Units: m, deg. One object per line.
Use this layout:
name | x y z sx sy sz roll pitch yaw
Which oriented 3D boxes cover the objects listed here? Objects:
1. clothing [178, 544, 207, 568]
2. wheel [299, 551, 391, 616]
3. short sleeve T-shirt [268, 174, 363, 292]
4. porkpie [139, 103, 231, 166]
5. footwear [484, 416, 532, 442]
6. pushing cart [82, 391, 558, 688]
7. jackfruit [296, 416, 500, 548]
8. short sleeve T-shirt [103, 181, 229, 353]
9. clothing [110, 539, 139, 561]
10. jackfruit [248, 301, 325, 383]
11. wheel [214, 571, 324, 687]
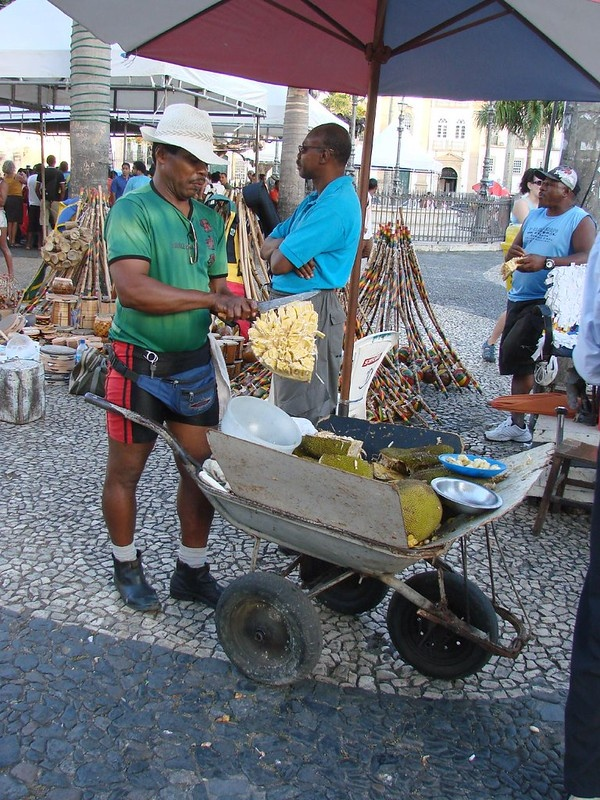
clothing | -0.457 0.658 2.682 0.113 0.075 0.111 7 8 34
wheel | 0.159 0.809 2.599 0.346 0.091 0.327 11 11 -2
short sleeve T-shirt | 0.104 -0.826 3.098 0.415 0.610 0.289 4 13 -6
porkpie | -0.395 -0.951 2.221 0.292 0.142 0.247 20 16 11
footwear | 1.676 0.252 5.062 0.456 0.191 0.151 3 7 1
pushing cart | -0.141 0.475 2.521 2.075 1.034 0.903 9 10 25
jackfruit | 0.347 0.253 2.184 0.606 0.200 0.412 16 13 24
short sleeve T-shirt | -0.512 -0.504 2.392 0.417 0.626 0.461 4 12 -6
clothing | -0.745 0.627 2.603 0.092 0.078 0.084 0 2 -5
jackfruit | -0.063 -0.241 2.398 0.277 0.307 0.128 23 -31 -10
wheel | -0.117 0.811 2.140 0.347 0.316 0.100 34 34 20
